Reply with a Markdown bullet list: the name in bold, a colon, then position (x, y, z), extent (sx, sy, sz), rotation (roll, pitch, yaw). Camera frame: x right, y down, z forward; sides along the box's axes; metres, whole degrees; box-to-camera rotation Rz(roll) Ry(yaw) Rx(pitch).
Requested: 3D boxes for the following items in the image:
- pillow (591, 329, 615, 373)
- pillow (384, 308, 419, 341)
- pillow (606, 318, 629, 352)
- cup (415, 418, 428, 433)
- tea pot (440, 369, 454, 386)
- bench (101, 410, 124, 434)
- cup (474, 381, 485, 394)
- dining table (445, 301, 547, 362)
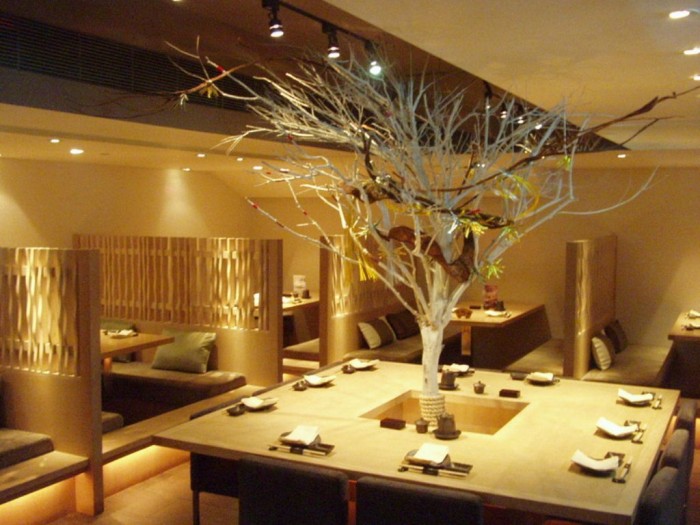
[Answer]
- **pillow**: position (2.811, 0.993, 5.888), extent (0.136, 0.225, 0.435), rotation (-6, 6, 27)
- **pillow**: position (0.701, 0.803, 6.885), extent (0.198, 0.400, 0.747), rotation (-31, -21, 31)
- **pillow**: position (3.379, 0.920, 6.693), extent (0.159, 0.260, 0.431), rotation (15, 10, 30)
- **cup**: position (0.392, 0.872, 2.855), extent (0.066, 0.044, 0.062), rotation (-1, 7, 0)
- **tea pot**: position (0.643, 0.768, 3.552), extent (0.112, 0.098, 0.083), rotation (2, 1, 28)
- **bench**: position (-1.928, 1.283, 4.303), extent (0.141, 0.118, 0.282), rotation (-5, 5, -23)
- **cup**: position (0.840, 0.800, 3.418), extent (0.066, 0.053, 0.065), rotation (-1, 0, 0)
- **dining table**: position (2.329, 1.069, 7.786), extent (1.019, 0.324, 1.556), rotation (1, 5, 26)
